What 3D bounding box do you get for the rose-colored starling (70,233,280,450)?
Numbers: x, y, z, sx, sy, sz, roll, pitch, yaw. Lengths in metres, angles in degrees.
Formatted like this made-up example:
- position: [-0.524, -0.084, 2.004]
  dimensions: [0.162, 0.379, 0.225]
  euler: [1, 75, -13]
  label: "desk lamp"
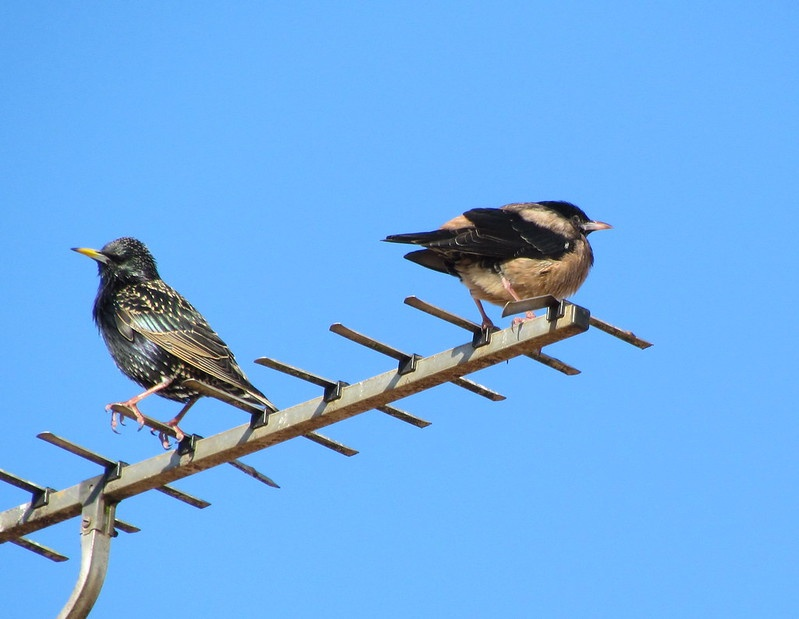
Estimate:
- position: [-1.988, 0.137, 15.063]
  dimensions: [1.574, 1.755, 0.618]
  euler: [10, -51, 1]
  label: "rose-colored starling"
